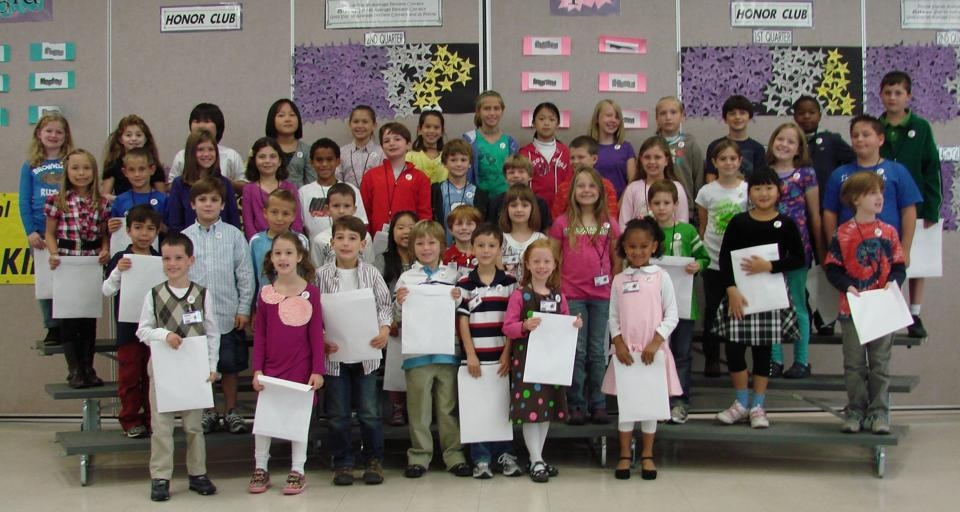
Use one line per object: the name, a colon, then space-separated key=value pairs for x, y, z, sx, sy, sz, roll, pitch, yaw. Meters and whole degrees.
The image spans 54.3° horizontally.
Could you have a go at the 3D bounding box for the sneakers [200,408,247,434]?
sneakers: x=-2.389 y=1.567 z=8.872 sx=0.486 sy=0.208 sz=0.175 roll=0 pitch=-2 yaw=7

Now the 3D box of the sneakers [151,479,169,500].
sneakers: x=-2.890 y=2.099 z=8.446 sx=0.172 sy=0.194 sz=0.143 roll=-3 pitch=3 yaw=-22

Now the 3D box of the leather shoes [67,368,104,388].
leather shoes: x=-3.908 y=1.213 z=9.229 sx=0.406 sy=0.268 sz=0.148 roll=-2 pitch=-4 yaw=12

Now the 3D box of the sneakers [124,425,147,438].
sneakers: x=-3.203 y=1.640 z=8.749 sx=0.217 sy=0.093 sz=0.093 roll=-3 pitch=-1 yaw=13

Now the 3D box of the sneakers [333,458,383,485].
sneakers: x=-1.124 y=1.985 z=8.651 sx=0.456 sy=0.213 sz=0.213 roll=-2 pitch=3 yaw=-7

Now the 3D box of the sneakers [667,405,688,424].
sneakers: x=1.918 y=1.514 z=8.974 sx=0.100 sy=0.104 sz=0.257 roll=-1 pitch=-10 yaw=24

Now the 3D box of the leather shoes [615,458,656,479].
leather shoes: x=1.450 y=1.965 z=8.730 sx=0.389 sy=0.190 sz=0.198 roll=-1 pitch=3 yaw=8

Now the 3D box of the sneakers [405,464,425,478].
sneakers: x=-0.601 y=1.991 z=8.712 sx=0.198 sy=0.120 sz=0.087 roll=-2 pitch=3 yaw=-9

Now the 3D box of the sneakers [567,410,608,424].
sneakers: x=1.035 y=1.512 z=8.898 sx=0.347 sy=0.138 sz=0.144 roll=-1 pitch=4 yaw=-1

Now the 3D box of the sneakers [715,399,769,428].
sneakers: x=2.546 y=1.497 z=8.898 sx=0.384 sy=0.149 sz=0.249 roll=7 pitch=-7 yaw=-26

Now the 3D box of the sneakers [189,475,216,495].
sneakers: x=-2.527 y=2.081 z=8.515 sx=0.302 sy=0.141 sz=0.119 roll=2 pitch=3 yaw=33

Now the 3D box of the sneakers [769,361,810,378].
sneakers: x=3.076 y=1.117 z=9.296 sx=0.476 sy=0.193 sz=0.170 roll=-1 pitch=-2 yaw=8

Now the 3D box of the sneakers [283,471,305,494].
sneakers: x=-1.693 y=2.053 z=8.503 sx=0.197 sy=0.196 sz=0.100 roll=-2 pitch=3 yaw=-13

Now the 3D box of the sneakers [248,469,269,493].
sneakers: x=-2.018 y=2.043 z=8.572 sx=0.217 sy=0.205 sz=0.161 roll=-3 pitch=3 yaw=-22

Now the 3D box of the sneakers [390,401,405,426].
sneakers: x=-0.785 y=1.508 z=8.974 sx=0.150 sy=0.176 sz=0.425 roll=1 pitch=-10 yaw=-4
